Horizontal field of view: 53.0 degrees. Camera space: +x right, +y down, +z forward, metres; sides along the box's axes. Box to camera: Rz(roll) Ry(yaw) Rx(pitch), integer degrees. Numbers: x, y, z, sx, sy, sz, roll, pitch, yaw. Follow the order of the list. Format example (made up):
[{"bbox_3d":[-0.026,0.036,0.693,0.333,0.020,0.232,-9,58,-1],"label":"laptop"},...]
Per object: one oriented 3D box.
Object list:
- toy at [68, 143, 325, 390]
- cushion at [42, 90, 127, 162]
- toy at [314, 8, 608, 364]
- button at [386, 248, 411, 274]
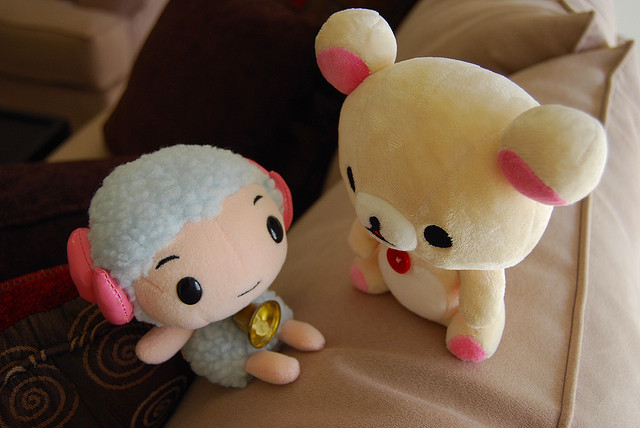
[{"bbox_3d":[-0.203,0.104,1.163,0.475,0.366,0.255,14,39,-10],"label":"toy"},{"bbox_3d":[-0.662,-0.224,1.762,0.059,0.214,0.198,49,-3,-21],"label":"cushion"},{"bbox_3d":[0.169,-0.158,1.243,0.419,0.529,0.689,8,46,-13],"label":"toy"},{"bbox_3d":[0.143,0.084,1.169,0.014,0.043,0.043,-17,60,-28],"label":"button"}]
